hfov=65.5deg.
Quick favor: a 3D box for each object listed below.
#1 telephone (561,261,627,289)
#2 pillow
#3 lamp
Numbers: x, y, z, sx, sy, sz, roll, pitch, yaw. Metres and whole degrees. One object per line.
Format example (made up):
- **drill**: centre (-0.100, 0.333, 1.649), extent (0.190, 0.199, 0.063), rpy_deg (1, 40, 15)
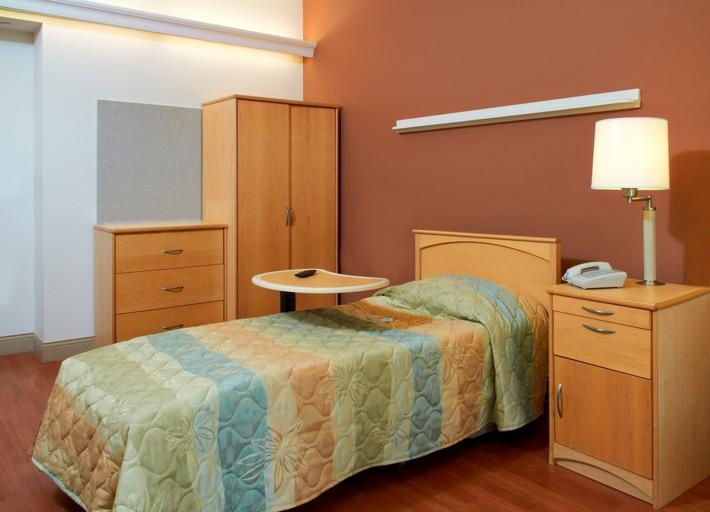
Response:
- **telephone**: centre (1.321, 0.108, 3.057), extent (0.189, 0.088, 0.198), rpy_deg (0, 2, -8)
- **pillow**: centre (0.636, 0.253, 3.513), extent (0.369, 0.151, 0.598), rpy_deg (-4, 7, -41)
- **lamp**: centre (1.576, -0.318, 3.080), extent (0.470, 0.896, 0.322), rpy_deg (-6, 16, -23)
